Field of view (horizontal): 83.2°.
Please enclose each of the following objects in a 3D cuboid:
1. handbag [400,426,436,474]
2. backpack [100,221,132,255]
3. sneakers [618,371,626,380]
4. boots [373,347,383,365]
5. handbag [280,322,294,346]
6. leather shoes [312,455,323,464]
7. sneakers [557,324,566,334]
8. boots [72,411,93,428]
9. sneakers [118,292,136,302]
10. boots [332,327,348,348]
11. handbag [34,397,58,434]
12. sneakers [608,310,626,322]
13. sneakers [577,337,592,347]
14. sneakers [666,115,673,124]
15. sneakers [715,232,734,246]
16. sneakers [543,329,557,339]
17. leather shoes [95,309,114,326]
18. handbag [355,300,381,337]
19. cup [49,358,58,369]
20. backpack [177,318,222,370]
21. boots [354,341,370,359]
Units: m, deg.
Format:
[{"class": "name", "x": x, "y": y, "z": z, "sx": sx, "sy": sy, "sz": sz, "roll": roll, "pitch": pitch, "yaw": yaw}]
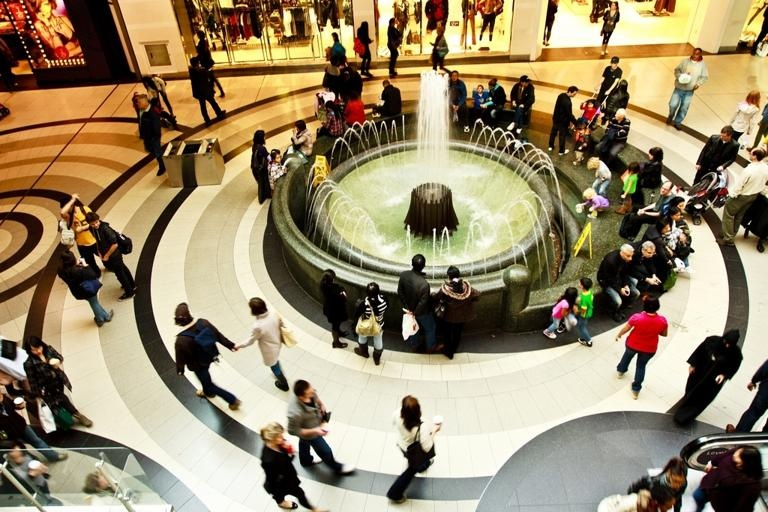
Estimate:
[{"class": "handbag", "x": 0.528, "y": 2.848, "z": 6.346, "sx": 0.445, "sy": 0.926, "sz": 0.179, "roll": -11, "pitch": 34, "yaw": -14}, {"class": "backpack", "x": -6.158, "y": -0.406, "z": 9.932, "sx": 0.608, "sy": 0.566, "sz": 0.372, "roll": -47, "pitch": 58, "yaw": -5}, {"class": "sneakers", "x": 4.458, "y": 2.210, "z": 8.083, "sx": 0.182, "sy": 0.070, "sz": 0.077, "roll": -7, "pitch": 9, "yaw": -31}, {"class": "boots", "x": -0.128, "y": 1.956, "z": 8.492, "sx": 0.218, "sy": 0.380, "sz": 0.327, "roll": 5, "pitch": 67, "yaw": -2}, {"class": "handbag", "x": -1.669, "y": 1.371, "z": 7.520, "sx": 0.187, "sy": 0.393, "sz": 0.252, "roll": -24, "pitch": 39, "yaw": -30}, {"class": "leather shoes", "x": -1.131, "y": 3.429, "z": 7.307, "sx": 0.131, "sy": 0.041, "sz": 0.133, "roll": 21, "pitch": 33, "yaw": 13}, {"class": "sneakers", "x": 3.653, "y": 1.462, "z": 8.876, "sx": 0.224, "sy": 0.181, "sz": 0.088, "roll": -6, "pitch": 33, "yaw": -8}, {"class": "boots", "x": -5.506, "y": 2.990, "z": 8.008, "sx": 0.202, "sy": 0.403, "sz": 0.107, "roll": -41, "pitch": 11, "yaw": 17}, {"class": "sneakers", "x": -5.922, "y": 0.908, "z": 9.991, "sx": 0.351, "sy": 0.135, "sz": 0.152, "roll": -8, "pitch": 43, "yaw": -3}, {"class": "boots", "x": -0.921, "y": 1.678, "z": 8.937, "sx": 0.302, "sy": 0.462, "sz": 0.125, "roll": -27, "pitch": 52, "yaw": -22}, {"class": "handbag", "x": -5.852, "y": 2.732, "z": 7.443, "sx": 0.185, "sy": 0.574, "sz": 0.301, "roll": -20, "pitch": 37, "yaw": -26}, {"class": "sneakers", "x": 4.852, "y": 1.227, "z": 8.989, "sx": 0.321, "sy": 0.117, "sz": 0.194, "roll": 21, "pitch": 83, "yaw": 27}, {"class": "sneakers", "x": 4.010, "y": 1.671, "z": 8.671, "sx": 0.112, "sy": 0.126, "sz": 0.303, "roll": -18, "pitch": 38, "yaw": -18}, {"class": "sneakers", "x": 9.128, "y": -4.345, "z": 13.818, "sx": 0.107, "sy": 0.210, "sz": 0.320, "roll": 4, "pitch": 67, "yaw": 17}, {"class": "sneakers", "x": 8.110, "y": -0.408, "z": 10.257, "sx": 0.131, "sy": 0.142, "sz": 0.326, "roll": -39, "pitch": 58, "yaw": -15}, {"class": "sneakers", "x": 3.403, "y": 1.574, "z": 8.856, "sx": 0.254, "sy": 0.114, "sz": 0.131, "roll": 12, "pitch": 58, "yaw": 15}, {"class": "leather shoes", "x": -6.207, "y": 1.378, "z": 9.535, "sx": 0.153, "sy": 0.204, "sz": 0.448, "roll": 29, "pitch": 66, "yaw": 29}, {"class": "handbag", "x": -0.282, "y": 1.124, "z": 7.980, "sx": 0.597, "sy": 0.738, "sz": 0.306, "roll": 4, "pitch": 24, "yaw": 20}, {"class": "cup", "x": -5.615, "y": 1.813, "z": 7.424, "sx": 0.138, "sy": 0.133, "sz": 0.139, "roll": 3, "pitch": 22, "yaw": -1}, {"class": "backpack", "x": -3.168, "y": 1.542, "z": 7.289, "sx": 0.704, "sy": 0.925, "sz": 0.324, "roll": -19, "pitch": 37, "yaw": -25}, {"class": "boots", "x": -0.433, "y": 1.873, "z": 8.687, "sx": 0.144, "sy": 0.279, "sz": 0.294, "roll": -38, "pitch": 64, "yaw": -22}]
